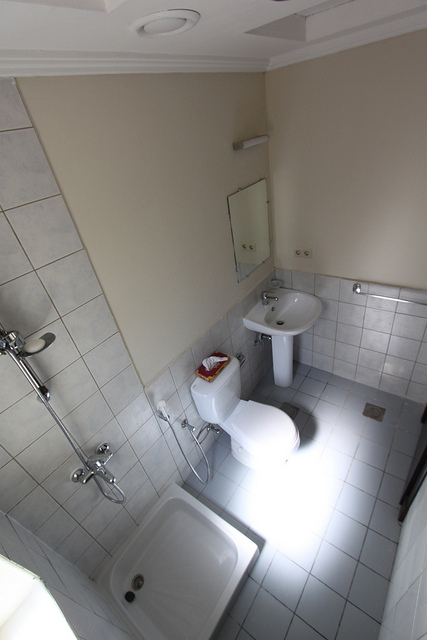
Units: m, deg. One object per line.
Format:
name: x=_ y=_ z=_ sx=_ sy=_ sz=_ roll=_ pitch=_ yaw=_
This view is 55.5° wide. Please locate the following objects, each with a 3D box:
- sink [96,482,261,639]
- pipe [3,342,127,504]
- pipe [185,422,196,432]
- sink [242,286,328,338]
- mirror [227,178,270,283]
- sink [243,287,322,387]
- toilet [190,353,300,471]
sink: x=-0.166 y=1.272 z=2.118 sx=0.622 sy=0.241 sz=0.689 roll=2 pitch=29 yaw=35
pipe: x=-0.617 y=0.402 z=1.638 sx=0.087 sy=0.869 sz=0.094 roll=-27 pitch=28 yaw=-8
pipe: x=-0.140 y=0.645 z=2.472 sx=0.024 sy=0.048 sz=0.109 roll=-22 pitch=7 yaw=-36
sink: x=0.545 y=-0.077 z=2.969 sx=0.397 sy=0.172 sz=0.464 roll=20 pitch=51 yaw=31
mirror: x=0.213 y=-0.601 z=2.620 sx=0.012 sy=0.544 sz=0.479 roll=14 pitch=50 yaw=26
sink: x=0.538 y=0.192 z=3.074 sx=0.437 sy=0.667 sz=0.538 roll=13 pitch=35 yaw=31
toilet: x=0.243 y=0.651 z=2.578 sx=0.616 sy=0.680 sz=0.366 roll=22 pitch=49 yaw=32
